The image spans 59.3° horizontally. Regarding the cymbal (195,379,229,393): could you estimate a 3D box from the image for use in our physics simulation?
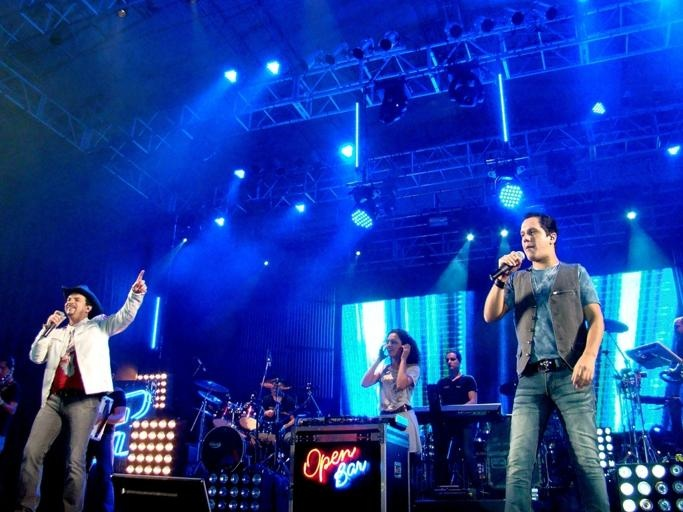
[{"bbox_3d":[-2.162,2.246,10.253,0.381,0.093,0.410,11,-31,18],"label":"cymbal"}]

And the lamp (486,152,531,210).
[{"bbox_3d":[2.833,-1.334,10.525,0.786,0.970,0.842,4,-24,10],"label":"lamp"}]

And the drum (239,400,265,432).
[{"bbox_3d":[-1.538,2.793,10.318,0.323,0.364,0.343,33,-60,-22],"label":"drum"}]

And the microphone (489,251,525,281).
[{"bbox_3d":[1.448,0.070,5.152,0.151,0.388,0.124,35,-33,28],"label":"microphone"}]

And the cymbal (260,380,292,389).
[{"bbox_3d":[-1.181,2.403,11.089,0.287,0.076,0.303,-14,-32,29],"label":"cymbal"}]

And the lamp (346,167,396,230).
[{"bbox_3d":[0.561,-1.056,11.203,0.881,0.919,0.539,14,-24,-26],"label":"lamp"}]

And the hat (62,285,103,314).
[{"bbox_3d":[-2.825,0.455,6.629,0.309,0.162,0.427,4,-53,22],"label":"hat"}]

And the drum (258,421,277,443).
[{"bbox_3d":[-1.224,2.990,10.077,0.265,0.263,0.284,2,-55,-4],"label":"drum"}]

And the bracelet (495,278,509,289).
[{"bbox_3d":[1.374,0.247,5.170,0.073,0.059,0.076,-7,-27,42],"label":"bracelet"}]
